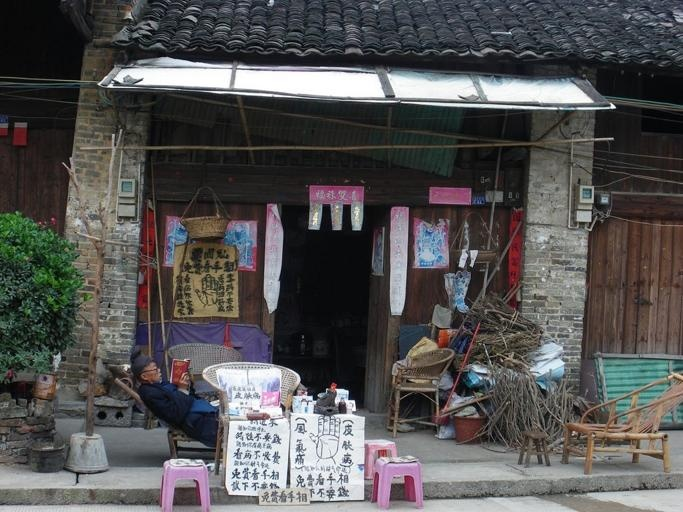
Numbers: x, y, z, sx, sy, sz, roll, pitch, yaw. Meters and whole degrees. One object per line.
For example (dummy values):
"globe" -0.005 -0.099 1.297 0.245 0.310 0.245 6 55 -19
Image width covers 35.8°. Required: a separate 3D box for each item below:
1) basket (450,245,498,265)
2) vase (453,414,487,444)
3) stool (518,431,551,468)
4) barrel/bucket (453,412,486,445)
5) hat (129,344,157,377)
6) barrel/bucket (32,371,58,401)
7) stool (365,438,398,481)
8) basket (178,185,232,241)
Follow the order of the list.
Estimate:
"basket" 2.018 0.033 16.058 0.695 0.271 0.276 1 -6 16
"vase" 1.817 2.469 14.944 0.403 0.296 0.400 2 -7 -2
"stool" 2.523 2.540 13.887 0.450 0.550 0.434 -3 -2 25
"barrel/bucket" 1.831 2.467 14.942 0.404 0.295 0.403 1 -8 0
"hat" -2.712 1.437 14.327 0.257 0.327 0.250 30 7 -13
"barrel/bucket" -3.866 1.720 13.771 0.264 0.338 0.250 2 -5 0
"stool" 0.498 2.563 13.161 0.441 0.364 0.435 1 -7 -11
"basket" -2.019 -0.642 15.220 0.796 0.994 0.804 -3 -5 25
